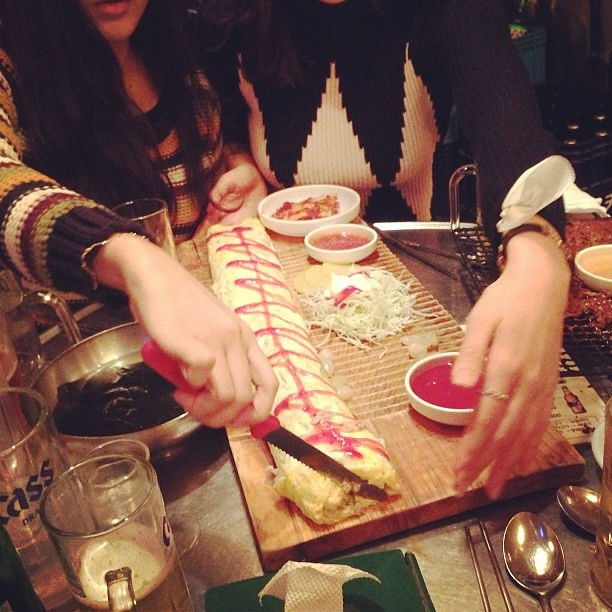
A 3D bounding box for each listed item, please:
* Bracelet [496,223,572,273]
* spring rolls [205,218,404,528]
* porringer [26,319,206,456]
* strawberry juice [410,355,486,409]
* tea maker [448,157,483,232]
[{"bbox_3d":[0.757,-0.234,2.016,0.194,0.176,0.195,-1,25,3],"label":"Bracelet"},{"bbox_3d":[-0.106,0.048,2.187,0.368,0.224,1.528,-16,34,-9],"label":"spring rolls"},{"bbox_3d":[-0.564,0.273,1.765,0.380,0.124,0.401,14,35,19],"label":"porringer"},{"bbox_3d":[0.453,0.276,1.946,0.200,0.146,0.220,-13,24,-33],"label":"strawberry juice"},{"bbox_3d":[0.747,-0.572,2.884,0.195,0.414,0.198,4,29,16],"label":"tea maker"}]
